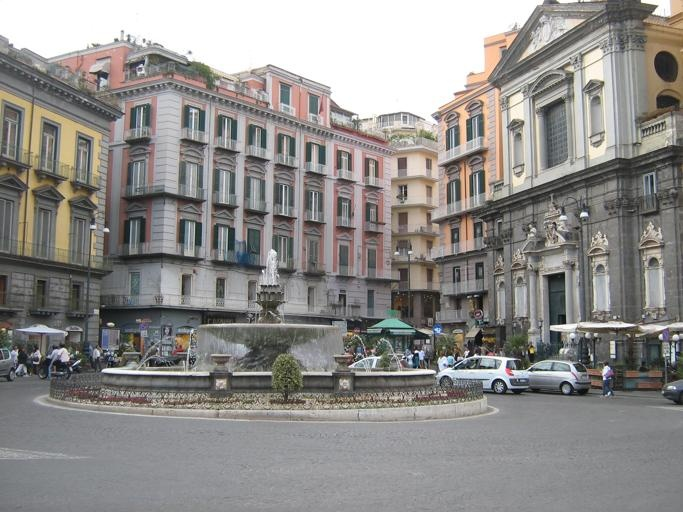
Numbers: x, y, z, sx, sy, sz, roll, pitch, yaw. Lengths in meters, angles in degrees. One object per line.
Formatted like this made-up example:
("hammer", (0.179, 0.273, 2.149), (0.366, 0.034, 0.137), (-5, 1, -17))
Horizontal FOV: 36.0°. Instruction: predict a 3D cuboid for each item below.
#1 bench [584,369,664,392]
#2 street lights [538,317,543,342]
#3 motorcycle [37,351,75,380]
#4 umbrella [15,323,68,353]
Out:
("bench", (14.441, 6.065, 51.315), (2.186, 0.759, 1.561), (4, -8, -19))
("street lights", (11.603, 4.346, 61.440), (0.164, 1.265, 0.780), (1, 6, -6))
("motorcycle", (-14.446, 5.590, 53.269), (2.290, 1.637, 1.301), (2, -14, 2))
("umbrella", (-16.933, 4.320, 59.315), (1.931, 1.318, 1.869), (2, -14, -5))
